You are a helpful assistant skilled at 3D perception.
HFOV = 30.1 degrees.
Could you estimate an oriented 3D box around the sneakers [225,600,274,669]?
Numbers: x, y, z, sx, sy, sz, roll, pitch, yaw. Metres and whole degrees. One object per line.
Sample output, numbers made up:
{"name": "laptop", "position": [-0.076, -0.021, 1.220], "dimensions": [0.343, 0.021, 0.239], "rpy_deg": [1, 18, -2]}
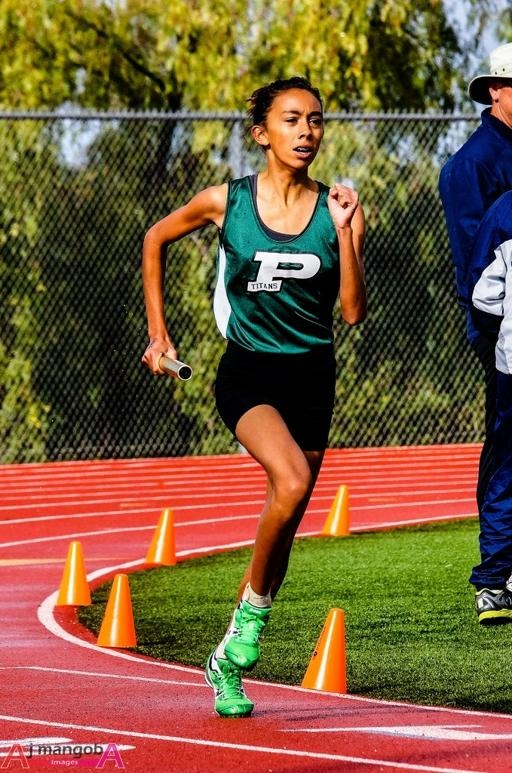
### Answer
{"name": "sneakers", "position": [-0.008, 0.606, 2.424], "dimensions": [0.073, 0.096, 0.214], "rpy_deg": [30, 17, -9]}

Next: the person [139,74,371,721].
{"name": "person", "position": [-0.029, 0.024, 2.628], "dimensions": [0.778, 1.331, 0.445], "rpy_deg": [16, 7, 44]}
